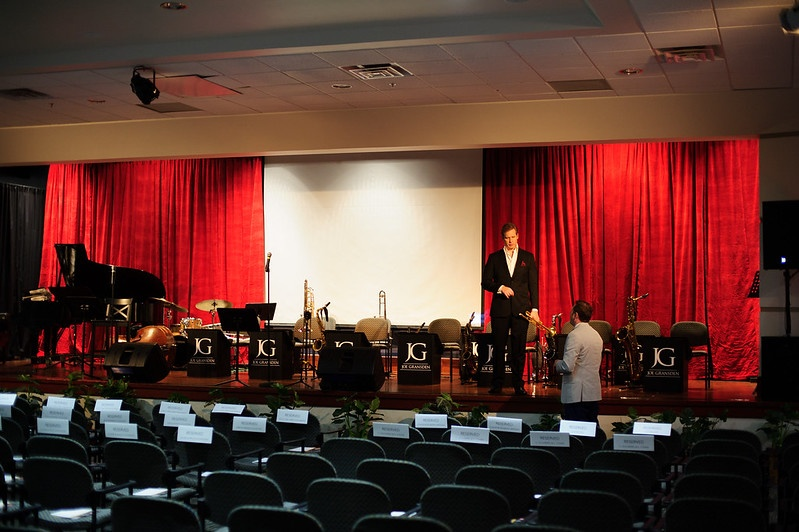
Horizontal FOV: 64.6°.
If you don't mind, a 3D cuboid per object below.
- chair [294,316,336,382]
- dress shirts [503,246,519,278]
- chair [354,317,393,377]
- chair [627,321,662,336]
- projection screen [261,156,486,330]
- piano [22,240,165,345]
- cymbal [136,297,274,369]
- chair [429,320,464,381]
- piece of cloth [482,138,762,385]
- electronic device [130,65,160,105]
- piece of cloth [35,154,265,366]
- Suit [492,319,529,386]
[{"bbox_3d":[-1.525,1.424,10.993,0.635,0.887,0.663,-6,4,22],"label":"chair"},{"bbox_3d":[1.477,-0.079,8.420,0.186,0.349,0.061,-2,-11,-1],"label":"dress shirts"},{"bbox_3d":[-0.477,1.432,11.235,0.685,0.957,0.632,-2,4,-3],"label":"chair"},{"bbox_3d":[4.102,1.036,10.602,0.358,0.359,0.445,4,-10,11],"label":"chair"},{"bbox_3d":[-0.326,-0.435,12.433,3.811,2.515,0.061,0,3,15],"label":"projection screen"},{"bbox_3d":[-5.204,0.495,10.746,2.284,1.715,1.634,1,-4,-17],"label":"piano"},{"bbox_3d":[-3.264,1.153,10.703,1.509,0.686,1.054,0,-3,3],"label":"cymbal"},{"bbox_3d":[0.665,1.402,10.617,0.761,1.042,0.705,1,-5,7],"label":"chair"},{"bbox_3d":[3.923,-0.034,10.488,4.497,3.616,0.352,0,-3,7],"label":"piece of cloth"},{"bbox_3d":[-3.579,-2.497,8.895,0.332,0.518,0.624,2,-4,-23],"label":"electronic device"},{"bbox_3d":[-4.677,-0.117,12.417,4.595,3.571,0.477,0,-2,9],"label":"piece of cloth"},{"bbox_3d":[1.455,1.150,8.399,0.466,0.960,0.381,0,-4,8],"label":"Suit"}]
